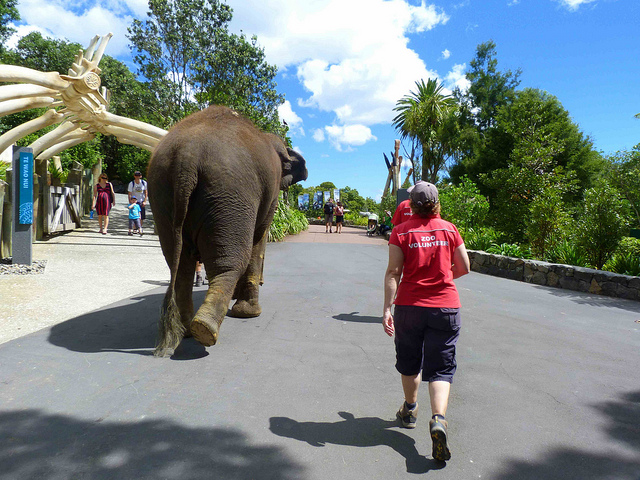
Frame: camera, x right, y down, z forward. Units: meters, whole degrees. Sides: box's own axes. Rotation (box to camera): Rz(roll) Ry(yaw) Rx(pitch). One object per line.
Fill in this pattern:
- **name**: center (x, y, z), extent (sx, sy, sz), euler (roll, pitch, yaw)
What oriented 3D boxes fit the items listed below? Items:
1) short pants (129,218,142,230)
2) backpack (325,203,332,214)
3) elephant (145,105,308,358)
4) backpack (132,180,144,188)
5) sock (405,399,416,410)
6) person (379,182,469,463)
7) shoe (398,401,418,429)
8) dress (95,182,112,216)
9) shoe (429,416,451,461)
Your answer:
- **short pants**: center (-7.871, -0.677, 16.312), extent (0.405, 0.528, 0.281), euler (5, 16, -5)
- **backpack**: center (0.558, -2.051, 25.255), extent (0.401, 0.718, 0.370), euler (3, 6, 2)
- **elephant**: center (-1.246, -0.300, 5.355), extent (1.156, 3.175, 2.720), euler (4, 6, 17)
- **backpack**: center (-7.693, -2.360, 16.210), extent (0.241, 0.330, 0.341), euler (3, -14, -7)
- **sock**: center (0.789, 1.429, 3.317), extent (0.093, 0.073, 0.042), euler (3, 6, 2)
- **person**: center (0.865, 0.599, 3.238), extent (0.664, 2.164, 0.782), euler (5, 7, 22)
- **shoe**: center (0.784, 1.543, 3.384), extent (0.105, 0.132, 0.273), euler (1, 3, 4)
- **dress**: center (-8.828, -1.641, 15.661), extent (0.512, 1.348, 0.888), euler (-1, 7, -31)
- **shoe**: center (0.938, 1.541, 3.017), extent (0.163, 0.415, 0.197), euler (-8, 31, 18)
